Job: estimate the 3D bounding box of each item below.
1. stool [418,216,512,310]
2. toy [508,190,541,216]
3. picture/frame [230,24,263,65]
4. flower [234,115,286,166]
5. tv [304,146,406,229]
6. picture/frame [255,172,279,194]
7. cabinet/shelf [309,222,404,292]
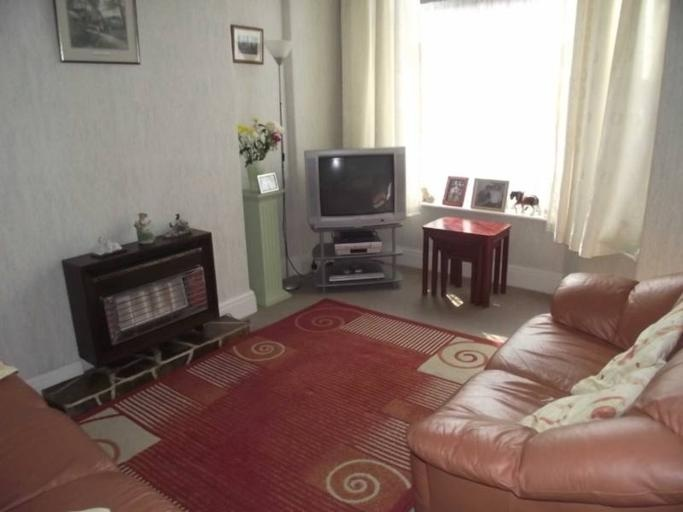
[{"bbox_3d":[1.100,-0.141,4.669,0.975,0.991,0.735,6,14,34],"label":"stool"},{"bbox_3d":[1.596,-0.479,4.565,0.116,0.256,0.355,-14,23,-39],"label":"toy"},{"bbox_3d":[-0.813,-1.830,4.397,0.025,0.296,0.347,15,21,39],"label":"picture/frame"},{"bbox_3d":[-0.756,-1.011,4.476,0.419,0.484,0.470,-10,18,-24],"label":"flower"},{"bbox_3d":[0.090,-0.606,4.678,1.148,0.903,0.634,-3,14,-7],"label":"tv"},{"bbox_3d":[-0.652,-0.620,4.354,0.022,0.148,0.200,0,9,39],"label":"picture/frame"},{"bbox_3d":[0.129,-0.062,4.910,0.833,0.630,0.675,-3,18,-4],"label":"cabinet/shelf"}]
